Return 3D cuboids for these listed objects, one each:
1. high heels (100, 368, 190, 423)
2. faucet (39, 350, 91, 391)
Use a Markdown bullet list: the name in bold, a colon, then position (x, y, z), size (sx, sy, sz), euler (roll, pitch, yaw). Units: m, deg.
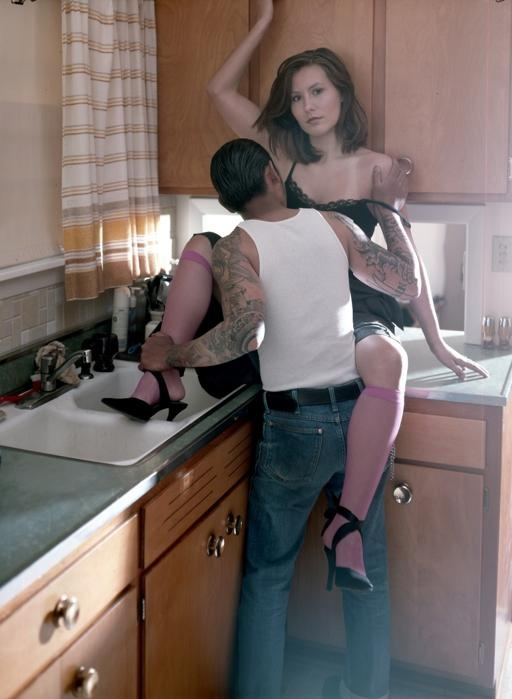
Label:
- **high heels**: position (-0.245, 0.109, 1.349), size (0.222, 0.113, 0.069), euler (17, 6, -41)
- **faucet**: position (-0.479, 0.044, 1.440), size (0.149, 0.101, 0.058), euler (-2, 12, 1)
